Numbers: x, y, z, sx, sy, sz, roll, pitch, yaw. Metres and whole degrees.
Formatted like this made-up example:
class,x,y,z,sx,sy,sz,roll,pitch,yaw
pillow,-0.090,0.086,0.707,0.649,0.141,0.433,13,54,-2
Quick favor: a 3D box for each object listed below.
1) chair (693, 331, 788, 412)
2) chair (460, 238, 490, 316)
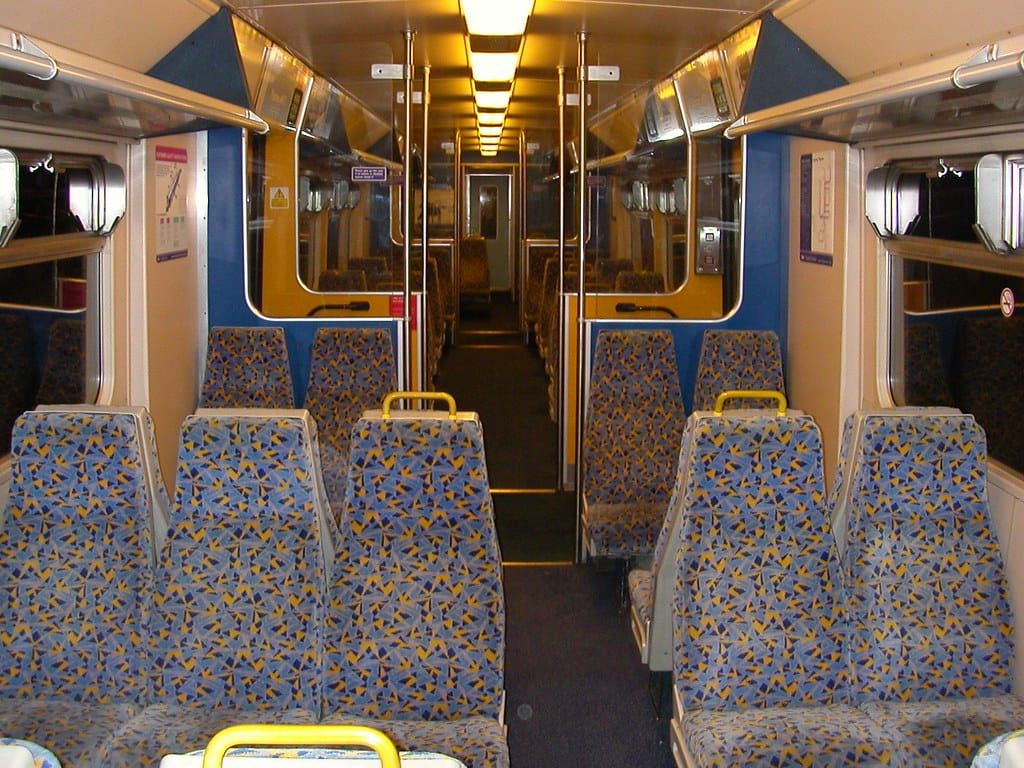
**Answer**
class,x,y,z,sx,sy,sz,roll,pitch,yaw
chair,1.218,-0.071,5.301,0.414,0.667,0.485,1,1,2
chair,-0.574,-1.620,14.300,0.431,1.225,0.458,-1,11,-5
